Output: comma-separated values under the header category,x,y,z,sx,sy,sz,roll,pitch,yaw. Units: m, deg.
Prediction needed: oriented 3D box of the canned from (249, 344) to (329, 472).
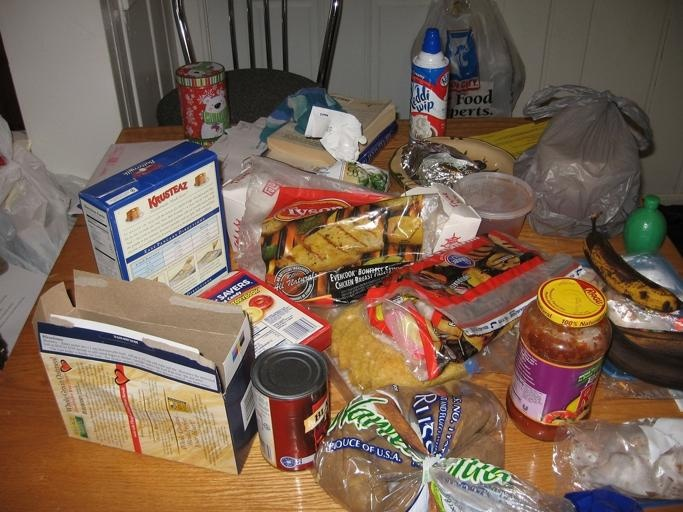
category,x,y,z,sx,sy,sz,roll,pitch,yaw
canned,-0.072,0.225,0.748,0.104,0.182,0.086,-6,33,-11

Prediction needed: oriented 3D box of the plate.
category,x,y,z,sx,sy,sz,roll,pitch,yaw
plate,0.277,-0.238,1.216,0.171,0.031,0.180,14,43,15

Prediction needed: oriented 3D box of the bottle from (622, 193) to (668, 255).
category,x,y,z,sx,sy,sz,roll,pitch,yaw
bottle,0.596,-0.059,1.029,0.064,0.106,0.067,-6,44,6
